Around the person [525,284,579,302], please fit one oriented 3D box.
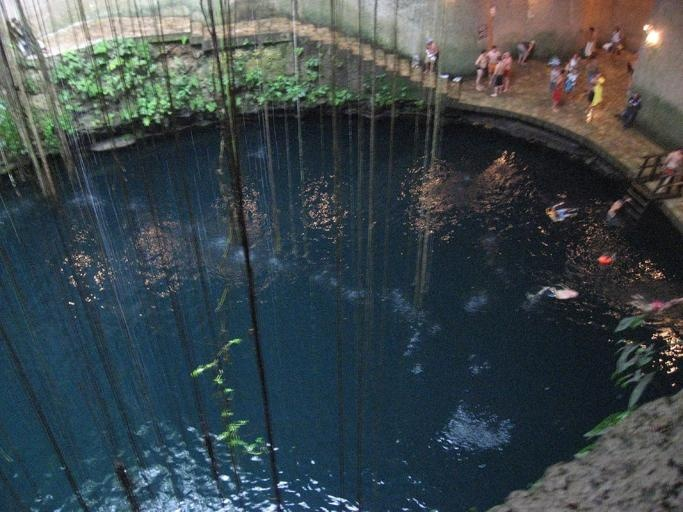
[{"bbox_3d":[3.935,0.708,10.006,0.900,0.181,0.351,6,31,3],"label":"person"}]
